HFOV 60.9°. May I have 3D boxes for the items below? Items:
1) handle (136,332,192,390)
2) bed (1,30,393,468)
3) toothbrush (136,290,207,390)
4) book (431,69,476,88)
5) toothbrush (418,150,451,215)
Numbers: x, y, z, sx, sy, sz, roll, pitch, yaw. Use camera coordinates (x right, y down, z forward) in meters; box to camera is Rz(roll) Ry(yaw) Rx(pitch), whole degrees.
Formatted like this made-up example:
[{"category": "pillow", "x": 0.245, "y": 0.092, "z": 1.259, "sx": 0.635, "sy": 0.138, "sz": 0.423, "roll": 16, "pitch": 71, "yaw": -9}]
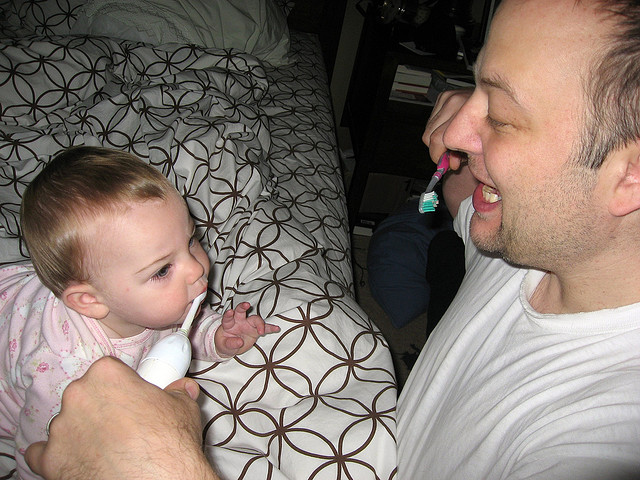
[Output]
[{"category": "handle", "x": -0.280, "y": 0.226, "z": 1.022, "sx": 0.075, "sy": 0.054, "sz": 0.117, "roll": 21, "pitch": 45, "yaw": 22}, {"category": "bed", "x": -0.409, "y": -0.105, "z": 1.896, "sx": 0.964, "sy": 1.033, "sz": 1.632, "roll": -3, "pitch": 72, "yaw": -4}, {"category": "toothbrush", "x": -0.315, "y": 0.207, "z": 1.139, "sx": 0.053, "sy": 0.051, "sz": 0.248, "roll": -10, "pitch": 14, "yaw": 12}, {"category": "book", "x": 0.553, "y": -0.681, "z": 2.244, "sx": 0.101, "sy": 0.034, "sz": 0.197, "roll": -33, "pitch": 51, "yaw": -32}, {"category": "toothbrush", "x": 0.301, "y": -0.141, "z": 1.417, "sx": 0.029, "sy": 0.202, "sz": 0.050, "roll": 16, "pitch": 5, "yaw": -27}]
